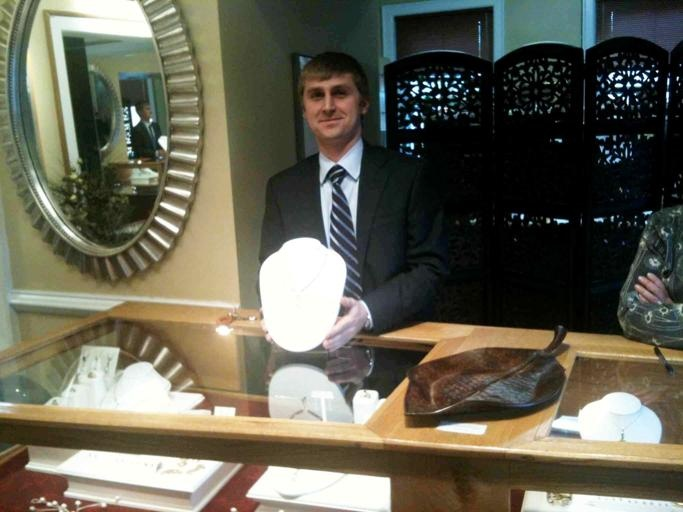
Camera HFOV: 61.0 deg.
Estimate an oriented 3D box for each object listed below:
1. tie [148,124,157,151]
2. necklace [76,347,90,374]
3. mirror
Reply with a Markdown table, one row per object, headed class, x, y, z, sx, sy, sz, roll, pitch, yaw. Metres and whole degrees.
| class | x | y | z | sx | sy | sz | roll | pitch | yaw |
| --- | --- | --- | --- | --- | --- | --- | --- | --- | --- |
| tie | -0.804 | -0.518 | 2.476 | 0.021 | 0.085 | 0.060 | -2 | -1 | -14 |
| necklace | -0.751 | 0.307 | 1.699 | 0.028 | 0.047 | 0.078 | 14 | 0 | -3 |
| mirror | -1.008 | -0.533 | 2.565 | 1.225 | 1.554 | 0.066 | -1 | 7 | 19 |
